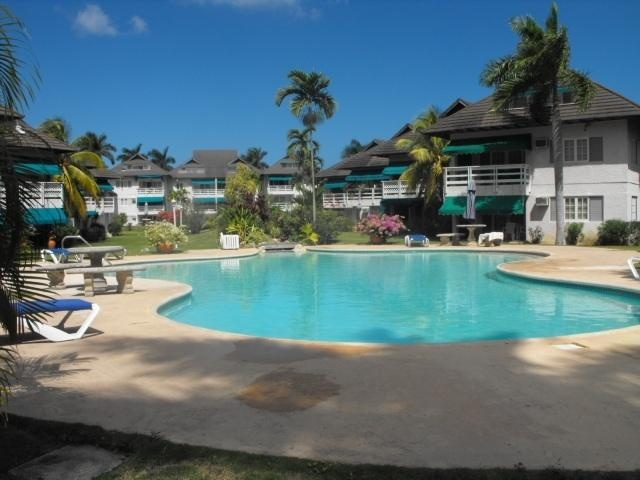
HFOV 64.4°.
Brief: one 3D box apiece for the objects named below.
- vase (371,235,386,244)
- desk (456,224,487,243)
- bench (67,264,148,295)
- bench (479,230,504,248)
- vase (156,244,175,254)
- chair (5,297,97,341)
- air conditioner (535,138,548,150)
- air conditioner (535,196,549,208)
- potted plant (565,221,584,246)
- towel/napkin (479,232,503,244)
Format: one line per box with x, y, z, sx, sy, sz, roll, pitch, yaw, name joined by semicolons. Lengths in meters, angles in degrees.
4.211;0.001;36.938;0.603;0.474;0.783;3;-6;3;vase
10.051;-0.592;33.351;1.568;0.969;1.626;-1;6;9;desk
-6.191;1.082;14.827;1.586;0.594;1.178;-1;7;-11;bench
10.200;-0.045;30.276;0.999;0.663;1.012;0;2;34;bench
-9.490;0.489;30.858;0.806;0.493;0.810;0;-1;8;vase
-4.407;1.344;8.405;1.645;0.622;1.139;4;5;-35;chair
14.634;-6.387;33.396;0.950;0.837;0.530;0;-1;29;air conditioner
14.462;-2.487;33.032;1.006;0.719;0.560;1;5;23;air conditioner
15.871;-0.386;30.959;1.189;1.640;1.230;2;2;-14;potted plant
10.427;-0.098;30.343;0.897;0.573;0.843;1;-4;-21;towel/napkin
